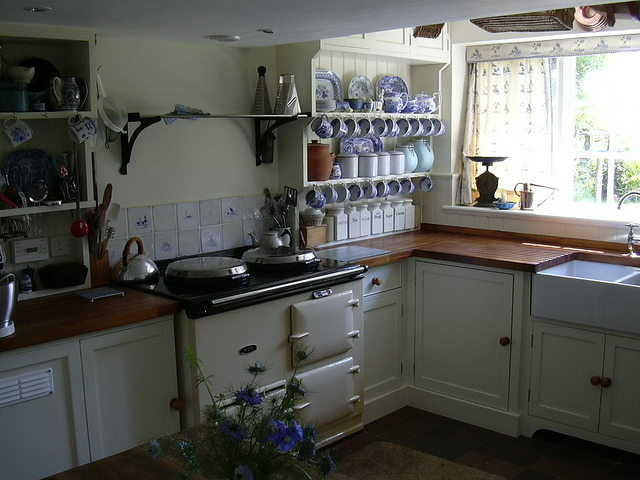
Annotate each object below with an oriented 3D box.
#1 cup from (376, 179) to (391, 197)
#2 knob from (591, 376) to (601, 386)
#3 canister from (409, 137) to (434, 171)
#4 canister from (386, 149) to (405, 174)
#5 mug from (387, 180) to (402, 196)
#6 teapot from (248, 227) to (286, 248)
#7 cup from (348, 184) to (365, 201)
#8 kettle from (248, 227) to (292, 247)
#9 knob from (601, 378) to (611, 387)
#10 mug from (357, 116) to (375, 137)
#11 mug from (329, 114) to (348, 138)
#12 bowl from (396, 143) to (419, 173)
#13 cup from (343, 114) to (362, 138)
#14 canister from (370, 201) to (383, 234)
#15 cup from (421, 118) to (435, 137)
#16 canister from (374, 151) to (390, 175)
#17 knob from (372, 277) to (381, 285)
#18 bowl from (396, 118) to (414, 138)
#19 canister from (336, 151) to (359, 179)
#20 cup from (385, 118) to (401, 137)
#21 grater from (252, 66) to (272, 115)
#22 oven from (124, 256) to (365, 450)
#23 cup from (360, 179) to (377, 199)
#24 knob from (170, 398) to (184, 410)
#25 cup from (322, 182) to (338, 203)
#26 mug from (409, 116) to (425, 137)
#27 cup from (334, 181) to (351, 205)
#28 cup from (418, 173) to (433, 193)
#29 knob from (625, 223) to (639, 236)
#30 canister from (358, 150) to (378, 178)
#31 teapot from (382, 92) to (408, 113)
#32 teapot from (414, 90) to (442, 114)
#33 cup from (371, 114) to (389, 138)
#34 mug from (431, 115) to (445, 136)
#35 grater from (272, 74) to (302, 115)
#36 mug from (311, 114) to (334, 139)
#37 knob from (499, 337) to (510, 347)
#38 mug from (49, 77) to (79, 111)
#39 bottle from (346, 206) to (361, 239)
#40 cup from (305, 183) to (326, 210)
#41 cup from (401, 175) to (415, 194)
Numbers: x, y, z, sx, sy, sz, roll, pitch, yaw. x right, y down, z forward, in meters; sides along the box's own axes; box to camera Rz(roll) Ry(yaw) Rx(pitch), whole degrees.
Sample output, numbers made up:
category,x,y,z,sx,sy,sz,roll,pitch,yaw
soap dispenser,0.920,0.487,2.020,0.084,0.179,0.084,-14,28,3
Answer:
category,x,y,z,sx,sy,sz,roll,pitch,yaw
cup,0.506,-0.430,4.054,0.096,0.145,0.094,1,14,0
knob,1.684,0.858,3.031,0.049,0.051,0.028,2,6,35
canister,0.886,-0.735,4.264,0.242,0.311,0.251,-3,8,0
canister,0.615,-0.658,4.083,0.161,0.177,0.161,-7,10,-38
mug,0.620,-0.439,4.132,0.093,0.123,0.046,4,10,23
teapot,-0.341,-0.019,3.122,0.172,0.078,0.114,1,2,25
cup,0.279,-0.382,3.948,0.051,0.127,0.100,-4,16,-43
kettle,-0.346,-0.018,3.126,0.184,0.108,0.129,4,5,5
knob,1.731,0.864,3.006,0.044,0.046,0.046,-2,14,2
mug,0.340,-0.880,3.820,0.109,0.143,0.057,16,19,38
mug,0.128,-0.848,3.681,0.123,0.165,0.122,-11,20,-43
bowl,0.730,-0.697,4.227,0.148,0.173,0.143,6,-14,1
cup,0.242,-0.856,3.755,0.112,0.158,0.102,2,12,0
canister,0.464,-0.181,4.138,0.120,0.252,0.056,-7,10,-42
cup,0.893,-0.936,4.115,0.094,0.133,0.094,1,14,0
canister,0.499,-0.610,4.008,0.148,0.173,0.155,0,9,-2
knob,0.394,0.283,3.449,0.026,0.057,0.095,5,10,39
bowl,0.689,-0.938,4.113,0.145,0.125,0.109,7,12,30
canister,0.209,-0.583,3.830,0.173,0.190,0.180,-2,8,-7
cup,0.574,-0.909,3.990,0.105,0.143,0.107,-5,7,1
grater,-0.416,-1.052,3.393,0.152,0.152,0.348,8,-34,-6
oven,-0.363,0.761,3.059,0.726,1.134,1.270,-2,2,44
cup,0.376,-0.409,3.946,0.112,0.150,0.060,-9,-9,42
knob,-0.729,0.838,2.540,0.051,0.058,0.054,4,-30,12
cup,0.072,-0.355,3.795,0.096,0.142,0.105,-2,24,1
mug,0.798,-0.932,4.102,0.114,0.156,0.119,-4,18,16
cup,0.171,-0.370,3.874,0.101,0.162,0.064,-11,-10,21
cup,0.905,-0.494,4.249,0.053,0.163,0.113,-1,13,4
knob,2.145,-0.075,3.414,0.075,0.084,0.082,0,5,26
canister,0.371,-0.597,3.907,0.172,0.197,0.180,1,10,11
teapot,0.603,-1.113,3.989,0.183,0.175,0.195,2,8,20
teapot,0.915,-1.153,4.118,0.220,0.166,0.160,-8,8,-26
cup,0.464,-0.884,3.865,0.117,0.157,0.054,-2,4,41
mug,0.994,-0.960,4.190,0.113,0.159,0.061,-2,-10,8
grater,-0.228,-1.007,3.405,0.179,0.293,0.188,0,7,2
mug,0.024,-0.817,3.548,0.101,0.160,0.248,3,9,26
knob,1.226,0.675,3.301,0.049,0.052,0.037,-1,5,44
mug,-1.307,-0.749,2.537,0.124,0.173,0.171,3,13,-2
bottle,0.234,-0.132,4.012,0.164,0.248,0.168,-3,-4,0
cup,-0.038,-0.313,3.746,0.109,0.192,0.126,-14,-31,26
cup,0.743,-0.478,4.238,0.092,0.147,0.059,2,5,3
